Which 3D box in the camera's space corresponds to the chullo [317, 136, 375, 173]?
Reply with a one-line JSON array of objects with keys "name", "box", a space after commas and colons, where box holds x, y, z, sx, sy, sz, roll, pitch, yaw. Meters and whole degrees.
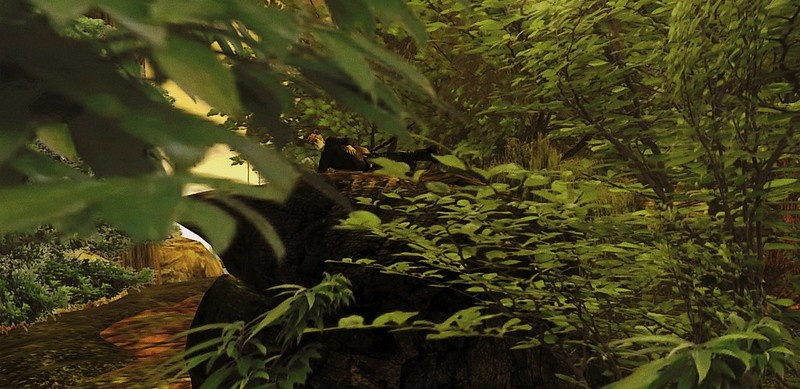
[{"name": "chullo", "box": [-0.693, -0.521, 7.609, 0.735, 0.277, 0.813, -1, 2, 15]}]
